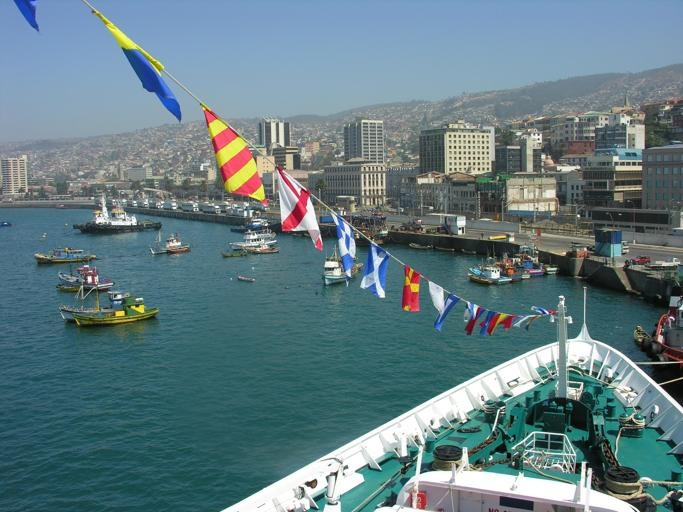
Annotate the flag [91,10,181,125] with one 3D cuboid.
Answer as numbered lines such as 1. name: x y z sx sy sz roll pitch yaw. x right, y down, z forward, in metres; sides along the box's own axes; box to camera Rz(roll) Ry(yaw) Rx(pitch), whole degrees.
1. flag: -4.732 -4.435 16.410 1.604 2.220 0.675 2 10 26
